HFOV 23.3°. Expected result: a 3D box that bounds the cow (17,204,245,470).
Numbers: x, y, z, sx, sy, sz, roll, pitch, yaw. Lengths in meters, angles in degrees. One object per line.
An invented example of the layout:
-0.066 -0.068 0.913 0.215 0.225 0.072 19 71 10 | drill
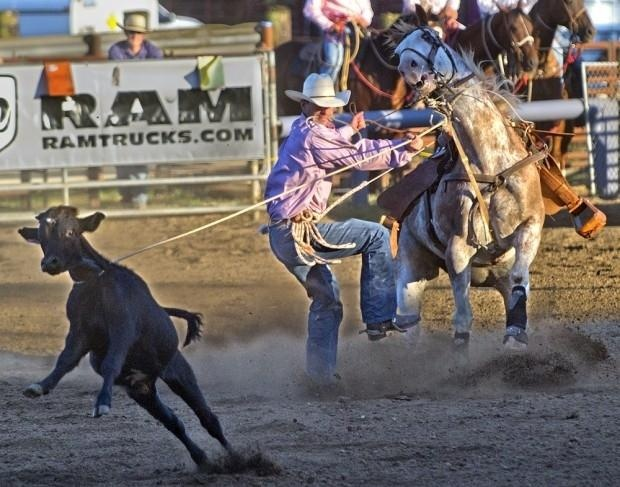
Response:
-1.479 0.810 12.128 0.736 1.504 2.613 -12 -29 24 | cow

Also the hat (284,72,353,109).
0.077 -1.372 13.368 0.555 0.245 0.581 -5 0 -21 | hat

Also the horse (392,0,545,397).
1.693 -0.100 14.444 1.259 2.652 4.681 -5 -15 12 | horse

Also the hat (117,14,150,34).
-2.041 -2.525 17.342 0.337 0.238 0.288 -5 10 -8 | hat

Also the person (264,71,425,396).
0.235 -0.118 13.294 1.235 2.712 0.563 -4 10 -3 | person
